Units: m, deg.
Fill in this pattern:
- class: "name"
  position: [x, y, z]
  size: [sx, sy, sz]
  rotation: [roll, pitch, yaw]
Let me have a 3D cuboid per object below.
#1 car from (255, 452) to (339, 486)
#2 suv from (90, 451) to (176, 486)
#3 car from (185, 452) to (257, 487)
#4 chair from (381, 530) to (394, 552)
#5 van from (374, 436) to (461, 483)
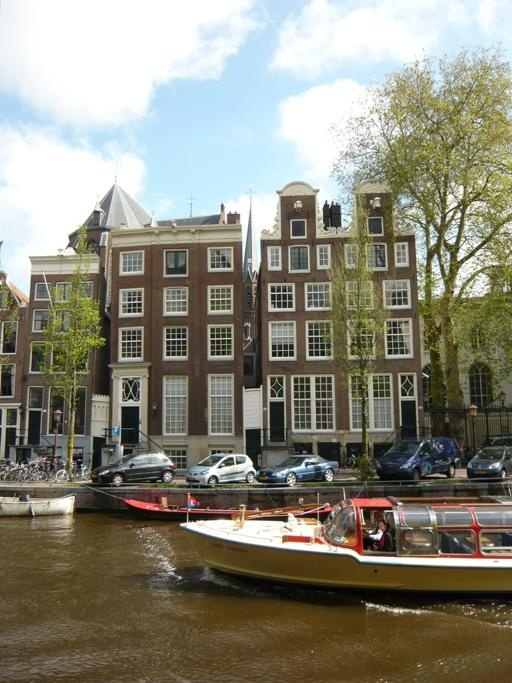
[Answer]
- class: "car"
  position: [1.625, 5.135, 24.578]
  size: [2.697, 0.848, 1.262]
  rotation: [9, -17, -34]
- class: "suv"
  position: [-5.065, 5.285, 25.424]
  size: [2.965, 1.072, 1.312]
  rotation: [9, -16, -31]
- class: "car"
  position: [-1.427, 5.171, 24.653]
  size: [2.404, 1.006, 1.357]
  rotation: [9, -17, -36]
- class: "chair"
  position: [2.521, 3.870, 11.794]
  size: [0.321, 0.431, 0.239]
  rotation: [3, -23, -2]
- class: "van"
  position: [6.068, 4.530, 23.416]
  size: [3.032, 1.200, 1.513]
  rotation: [10, -18, -40]
